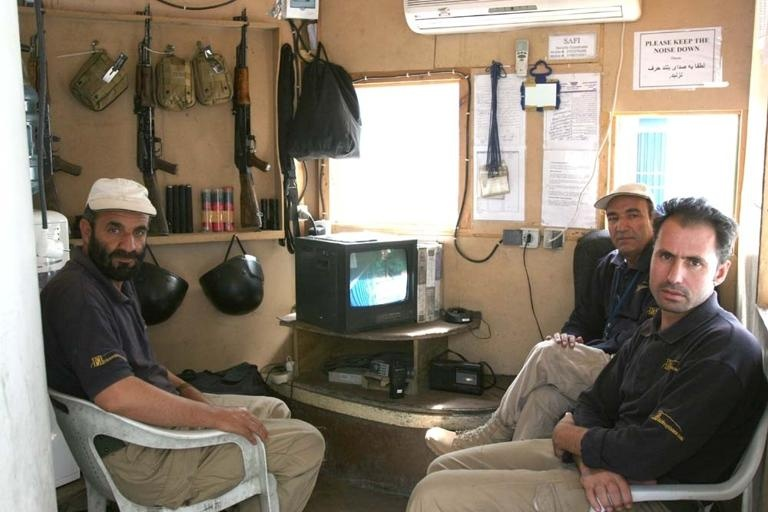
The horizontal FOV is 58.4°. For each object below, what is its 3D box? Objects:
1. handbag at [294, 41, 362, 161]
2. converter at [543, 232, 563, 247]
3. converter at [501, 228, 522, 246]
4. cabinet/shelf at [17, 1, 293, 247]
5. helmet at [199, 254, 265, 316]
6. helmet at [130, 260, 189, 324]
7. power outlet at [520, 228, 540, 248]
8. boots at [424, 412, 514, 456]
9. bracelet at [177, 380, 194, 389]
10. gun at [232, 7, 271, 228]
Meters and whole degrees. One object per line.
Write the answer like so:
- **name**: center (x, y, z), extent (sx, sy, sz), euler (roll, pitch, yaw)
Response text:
- **handbag**: center (-0.402, -1.002, 4.659), extent (0.482, 0.681, 0.226), euler (-1, 7, -4)
- **converter**: center (1.090, -0.096, 4.451), extent (0.121, 0.118, 0.097), euler (0, 1, 35)
- **converter**: center (0.851, -0.121, 4.509), extent (0.179, 0.148, 0.097), euler (1, 1, 26)
- **cabinet/shelf**: center (-1.421, -0.835, 4.168), extent (1.805, 1.534, 0.630), euler (-2, 1, -29)
- **helmet**: center (-0.998, 0.218, 4.654), extent (0.385, 0.300, 0.402), euler (-26, -9, -11)
- **helmet**: center (-1.383, 0.229, 4.339), extent (0.348, 0.280, 0.376), euler (19, -8, -3)
- **power outlet**: center (0.956, -0.120, 4.465), extent (0.131, 0.134, 0.116), euler (2, 4, 18)
- **boots**: center (0.443, 0.939, 3.594), extent (0.301, 0.115, 0.299), euler (-8, -6, 10)
- **bracelet**: center (-1.017, 0.658, 3.513), extent (0.059, 0.032, 0.042), euler (12, -5, 9)
- **gun**: center (-0.917, -0.984, 4.685), extent (0.462, 1.519, 0.152), euler (0, 3, 38)
